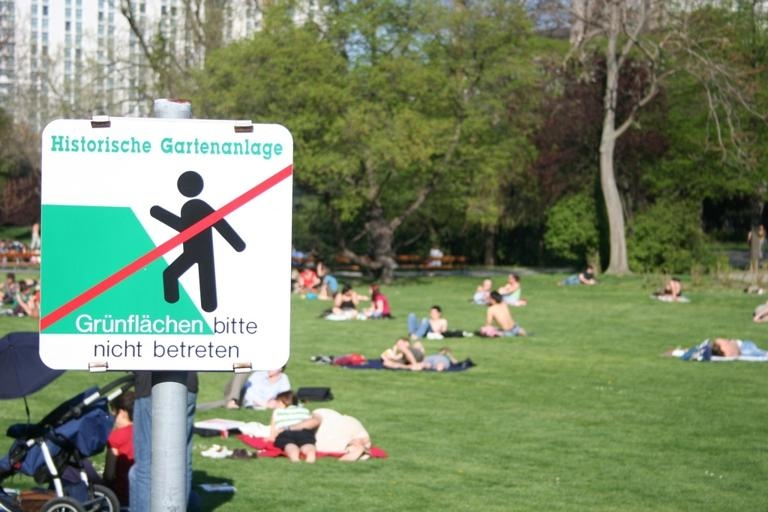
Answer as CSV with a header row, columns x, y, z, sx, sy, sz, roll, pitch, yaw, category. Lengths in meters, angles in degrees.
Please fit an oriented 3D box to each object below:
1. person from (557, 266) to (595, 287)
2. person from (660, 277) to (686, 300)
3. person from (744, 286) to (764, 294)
x,y,z,sx,sy,sz,roll,pitch,yaw,category
8.813,1.074,79.893,1.391,0.637,0.798,-5,26,13,person
12.382,1.613,75.281,0.901,1.123,1.281,4,2,35,person
15.937,1.526,75.795,1.005,0.394,0.608,-1,-1,36,person
